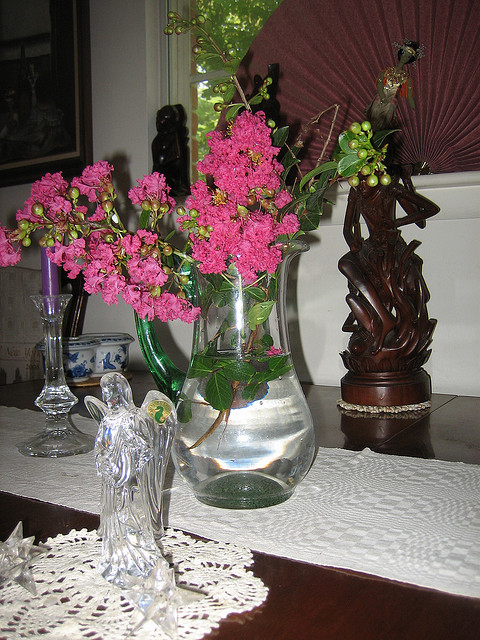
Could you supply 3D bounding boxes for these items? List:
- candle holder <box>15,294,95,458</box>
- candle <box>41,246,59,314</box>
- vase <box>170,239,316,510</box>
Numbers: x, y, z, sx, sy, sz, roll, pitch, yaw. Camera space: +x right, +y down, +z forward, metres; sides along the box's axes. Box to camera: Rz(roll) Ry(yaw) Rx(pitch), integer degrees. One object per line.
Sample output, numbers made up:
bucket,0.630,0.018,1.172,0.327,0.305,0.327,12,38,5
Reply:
candle holder,-0.199,0.068,0.689,0.092,0.184,0.077,12,20,41
candle,-0.213,-0.041,0.657,0.017,0.069,0.042,-2,7,-18
vase,-0.007,0.045,0.504,0.157,0.209,0.118,-2,1,8
